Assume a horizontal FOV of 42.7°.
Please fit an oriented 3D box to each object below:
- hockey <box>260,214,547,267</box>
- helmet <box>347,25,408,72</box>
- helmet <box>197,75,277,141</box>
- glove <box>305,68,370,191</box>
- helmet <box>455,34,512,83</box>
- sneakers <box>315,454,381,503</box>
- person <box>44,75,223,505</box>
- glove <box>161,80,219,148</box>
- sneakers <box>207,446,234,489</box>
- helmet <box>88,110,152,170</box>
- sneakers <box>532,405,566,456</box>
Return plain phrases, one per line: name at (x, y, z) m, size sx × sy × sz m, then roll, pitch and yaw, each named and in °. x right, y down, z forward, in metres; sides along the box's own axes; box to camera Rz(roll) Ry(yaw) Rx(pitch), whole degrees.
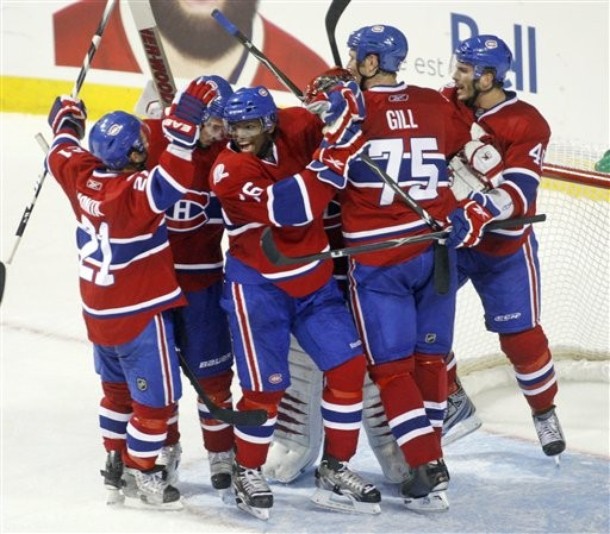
hockey at (0.406, -0.116, 3.398) m, size 1.231 × 0.197 × 0.213 m, roll -2°, pitch 10°, yaw -11°
helmet at (0.337, -0.969, 3.478) m, size 0.286 × 0.172 × 0.192 m, roll 8°, pitch 20°, yaw 18°
helmet at (-0.274, -0.667, 3.305) m, size 0.274 × 0.272 × 0.281 m, roll 10°, pitch 15°, yaw 14°
glove at (0.104, -0.567, 3.246) m, size 0.337 × 0.457 × 0.159 m, roll -12°, pitch 15°, yaw -18°
helmet at (0.828, -0.989, 3.658) m, size 0.301 × 0.187 × 0.185 m, roll 8°, pitch 19°, yaw 0°
sneakers at (0.178, 0.938, 3.547) m, size 0.389 × 0.139 × 0.126 m, roll 11°, pitch 32°, yaw 28°
person at (-0.760, 0.144, 3.524) m, size 0.455 × 1.914 × 0.853 m, roll -13°, pitch 16°, yaw -41°
glove at (-0.455, -0.605, 3.192) m, size 0.216 × 0.285 × 0.095 m, roll 31°, pitch -3°, yaw 9°
sneakers at (-0.391, 0.965, 3.737) m, size 0.093 × 0.149 × 0.213 m, roll 4°, pitch 40°, yaw -5°
helmet at (-0.780, -0.526, 3.262) m, size 0.228 × 0.243 × 0.112 m, roll -3°, pitch 12°, yaw -10°
sneakers at (1.226, 0.838, 4.030) m, size 0.101 × 0.137 × 0.286 m, roll -30°, pitch 39°, yaw 23°
